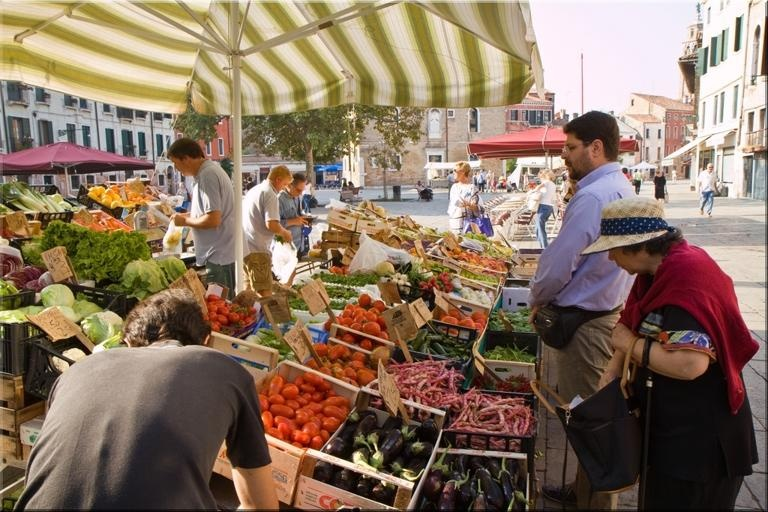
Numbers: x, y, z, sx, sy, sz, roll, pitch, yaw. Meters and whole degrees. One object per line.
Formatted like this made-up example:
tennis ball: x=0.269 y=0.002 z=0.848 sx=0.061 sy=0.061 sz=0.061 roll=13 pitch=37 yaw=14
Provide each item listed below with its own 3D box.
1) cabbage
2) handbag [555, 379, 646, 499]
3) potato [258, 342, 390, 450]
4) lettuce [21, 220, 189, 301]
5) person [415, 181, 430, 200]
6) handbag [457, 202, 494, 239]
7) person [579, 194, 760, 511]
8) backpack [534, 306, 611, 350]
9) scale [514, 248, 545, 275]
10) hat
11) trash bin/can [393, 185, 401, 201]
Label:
cabbage: x=-2.444 y=0.463 z=4.552 sx=0.588 sy=0.253 sz=0.588 roll=12 pitch=6 yaw=-3
handbag: x=1.448 y=1.127 z=3.645 sx=0.668 sy=0.747 sz=0.686 roll=-14 pitch=-16 yaw=19
potato: x=-0.628 y=1.062 z=4.173 sx=0.548 sy=0.166 sz=0.615 roll=19 pitch=44 yaw=20
lettuce: x=-2.637 y=-0.011 z=5.420 sx=0.998 sy=0.347 sz=0.889 roll=20 pitch=6 yaw=10
person: x=2.743 y=-4.501 z=37.586 sx=0.892 sy=1.254 sz=1.574 roll=-1 pitch=5 yaw=4
handbag: x=2.012 y=-0.704 z=11.767 sx=0.396 sy=0.785 sz=0.747 roll=17 pitch=16 yaw=11
person: x=1.768 y=0.601 z=3.367 sx=0.859 sy=1.927 sz=0.438 roll=2 pitch=6 yaw=33
backpack: x=1.596 y=0.562 z=4.626 sx=0.703 sy=0.289 sz=0.552 roll=-8 pitch=-1 yaw=-33
scale: x=2.144 y=0.074 z=8.282 sx=0.434 sy=0.119 sz=0.464 roll=0 pitch=32 yaw=22
hat: x=1.595 y=-0.209 z=3.577 sx=0.592 sy=0.314 sz=0.461 roll=-1 pitch=5 yaw=19
trash bin/can: x=0.872 y=-4.589 z=39.319 sx=0.493 sy=0.961 sz=1.417 roll=-1 pitch=5 yaw=-4
